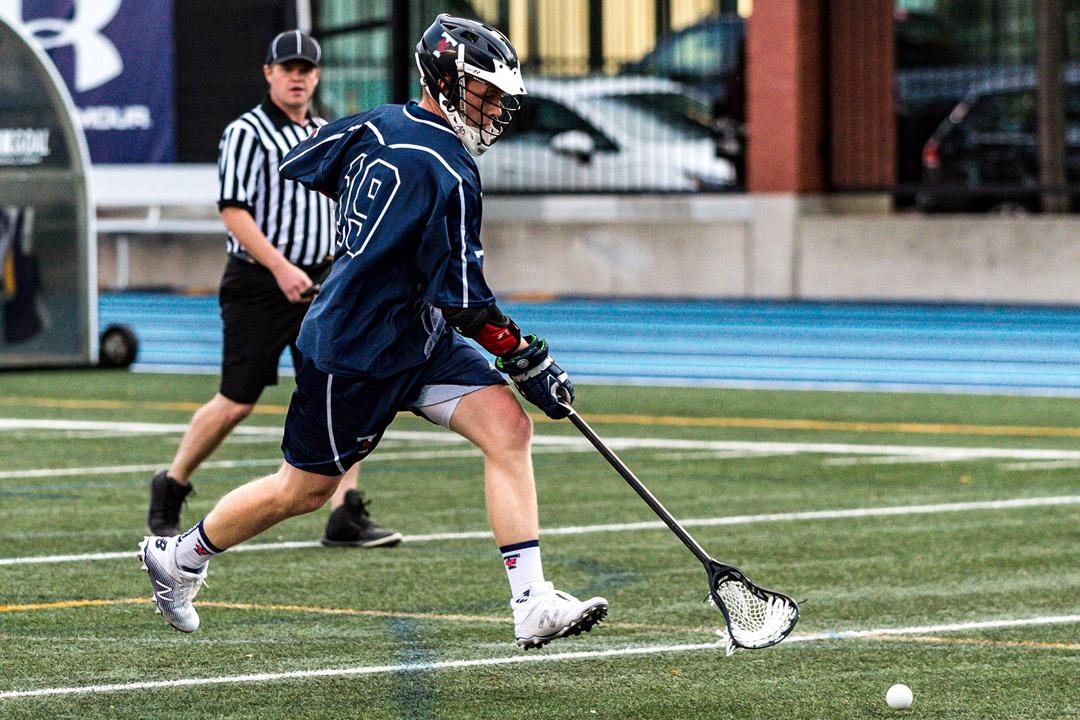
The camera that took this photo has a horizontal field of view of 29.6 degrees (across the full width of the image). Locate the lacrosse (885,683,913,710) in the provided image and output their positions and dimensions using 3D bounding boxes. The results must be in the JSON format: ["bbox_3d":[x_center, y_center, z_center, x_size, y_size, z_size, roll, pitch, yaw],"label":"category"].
[{"bbox_3d":[1.751,1.551,9.541,0.125,0.097,0.165,3,12,14],"label":"lacrosse"}]

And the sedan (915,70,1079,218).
[{"bbox_3d":[4.777,-2.202,20.719,2.079,0.939,1.140,-5,2,11],"label":"sedan"}]

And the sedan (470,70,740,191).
[{"bbox_3d":[0.876,-2.195,20.500,2.326,0.727,1.545,0,3,31],"label":"sedan"}]

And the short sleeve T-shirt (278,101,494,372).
[{"bbox_3d":[-0.736,-0.585,9.868,1.145,1.088,0.599,30,35,31],"label":"short sleeve T-shirt"}]

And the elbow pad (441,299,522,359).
[{"bbox_3d":[-0.248,-0.155,9.747,0.319,0.119,0.238,31,20,-8],"label":"elbow pad"}]

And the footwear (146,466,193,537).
[{"bbox_3d":[-2.125,0.810,11.469,0.329,0.435,0.157,-6,-4,30],"label":"footwear"}]

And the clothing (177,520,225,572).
[{"bbox_3d":[-1.708,0.925,10.180,0.245,0.196,0.266,-1,-13,3],"label":"clothing"}]

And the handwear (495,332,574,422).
[{"bbox_3d":[0.038,0.079,9.979,0.277,0.478,0.201,-28,22,50],"label":"handwear"}]
